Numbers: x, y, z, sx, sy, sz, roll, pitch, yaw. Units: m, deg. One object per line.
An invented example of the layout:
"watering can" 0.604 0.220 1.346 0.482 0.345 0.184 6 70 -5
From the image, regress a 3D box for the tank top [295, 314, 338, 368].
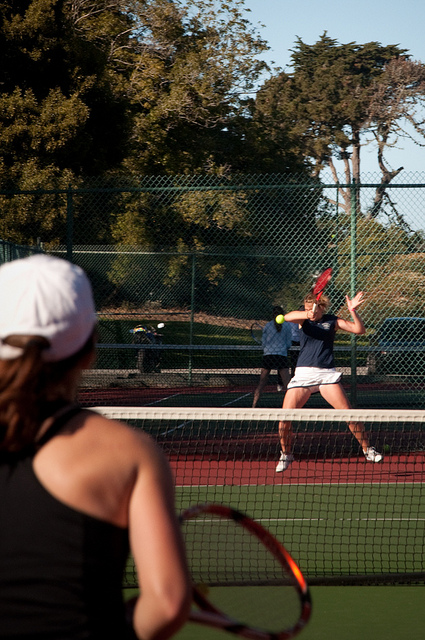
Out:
"tank top" 0.839 0.174 6.299 0.296 0.345 0.240 5 -2 7

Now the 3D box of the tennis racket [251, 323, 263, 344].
"tennis racket" 0.720 0.221 12.870 0.166 0.279 0.310 6 -2 -3

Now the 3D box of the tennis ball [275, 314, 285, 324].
"tennis ball" 0.629 -0.002 7.333 0.082 0.069 0.089 -1 -12 0

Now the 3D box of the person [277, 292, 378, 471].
"person" 0.887 0.420 6.167 0.880 1.382 0.587 -1 -8 8

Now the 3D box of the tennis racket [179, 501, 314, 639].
"tennis racket" 0.141 1.017 3.194 0.102 0.488 1.262 -42 -7 7

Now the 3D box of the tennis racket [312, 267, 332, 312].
"tennis racket" 0.861 -0.231 6.225 0.114 0.287 0.359 5 -2 7
